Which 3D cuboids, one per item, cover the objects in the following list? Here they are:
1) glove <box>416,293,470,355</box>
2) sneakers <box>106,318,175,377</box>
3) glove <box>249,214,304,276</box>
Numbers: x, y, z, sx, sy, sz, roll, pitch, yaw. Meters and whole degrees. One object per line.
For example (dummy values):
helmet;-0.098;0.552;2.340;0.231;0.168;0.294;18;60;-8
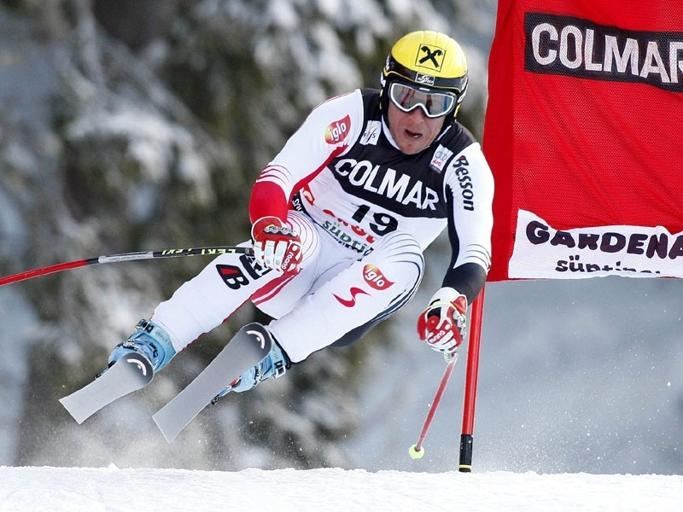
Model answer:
glove;0.666;0.460;6.123;0.303;0.178;0.410;-18;77;-54
sneakers;-1.291;0.629;6.278;0.447;0.199;0.294;-38;85;-16
glove;-0.413;-0.076;6.228;0.326;0.230;0.345;-3;63;-11
